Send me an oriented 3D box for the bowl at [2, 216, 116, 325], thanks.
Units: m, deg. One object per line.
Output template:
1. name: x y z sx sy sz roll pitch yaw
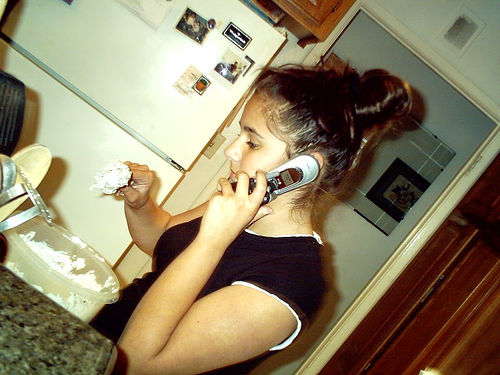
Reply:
1. bowl: -0.476 0.212 0.903 0.305 0.123 0.151 37 2 -8

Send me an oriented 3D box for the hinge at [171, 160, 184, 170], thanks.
1. hinge: -0.361 -0.116 1.798 0.078 0.019 0.011 39 25 -4

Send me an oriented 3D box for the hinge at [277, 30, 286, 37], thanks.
1. hinge: 0.162 -0.774 1.800 0.054 0.013 0.039 36 18 10

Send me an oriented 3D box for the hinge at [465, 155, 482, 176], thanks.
1. hinge: 1.136 -0.111 1.823 0.024 0.130 0.006 34 2 26

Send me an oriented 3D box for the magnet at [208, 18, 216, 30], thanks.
1. magnet: -0.185 -0.782 1.709 0.029 0.043 0.015 2 8 -2

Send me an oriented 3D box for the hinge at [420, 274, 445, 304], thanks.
1. hinge: 0.844 0.473 1.654 0.017 0.158 0.017 40 0 21

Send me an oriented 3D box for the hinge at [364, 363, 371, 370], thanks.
1. hinge: 0.554 0.848 1.692 0.009 0.039 0.003 35 3 38

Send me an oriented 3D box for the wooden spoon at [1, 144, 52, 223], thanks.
1. wooden spoon: -0.550 -0.003 0.933 0.110 0.202 0.117 3 11 -7

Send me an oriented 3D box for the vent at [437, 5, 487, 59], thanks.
1. vent: 1.051 -0.777 1.814 0.218 0.220 0.051 42 14 2

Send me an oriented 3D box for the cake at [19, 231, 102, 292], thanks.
1. cake: -0.472 0.193 0.931 0.164 0.070 0.157 41 -7 1

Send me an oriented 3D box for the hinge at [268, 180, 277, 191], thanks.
1. hinge: 0.069 -0.006 1.137 0.029 0.010 0.021 62 -3 0
